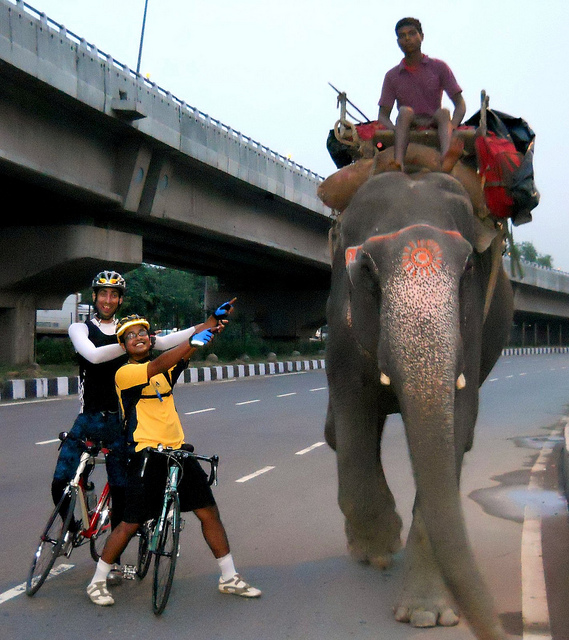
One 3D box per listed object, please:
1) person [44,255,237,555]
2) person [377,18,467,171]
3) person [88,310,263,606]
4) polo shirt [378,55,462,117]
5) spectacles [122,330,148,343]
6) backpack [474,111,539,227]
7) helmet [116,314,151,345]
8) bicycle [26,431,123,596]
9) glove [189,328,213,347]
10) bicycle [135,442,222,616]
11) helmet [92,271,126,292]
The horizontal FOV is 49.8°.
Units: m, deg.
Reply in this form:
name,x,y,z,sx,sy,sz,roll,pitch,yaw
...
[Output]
name,x,y,z,sx,sy,sz,roll,pitch,yaw
person,-0.901,0.700,3.787,0.812,2.125,0.586,5,13,1
person,0.785,-1.238,3.426,0.366,1.074,0.652,-4,-5,6
person,-0.637,0.705,3.299,0.746,1.830,0.562,-2,21,-10
polo shirt,0.796,-1.345,3.624,0.430,0.487,0.217,-4,-7,11
spectacles,-0.791,0.075,3.244,0.126,0.052,0.056,-1,1,-24
backpack,1.066,-0.760,3.047,0.206,0.592,0.177,-4,-17,29
helmet,-0.835,0.036,3.296,0.122,0.092,0.170,-28,-11,-18
bicycle,-1.151,1.176,3.822,0.365,0.777,1.077,17,-9,8
glove,-0.398,0.082,2.919,0.113,0.090,0.180,0,1,-11
bicycle,-0.683,1.040,3.411,0.320,0.790,1.020,20,-10,-17
helmet,-1.071,-0.240,3.720,0.179,0.114,0.224,-1,1,-16
